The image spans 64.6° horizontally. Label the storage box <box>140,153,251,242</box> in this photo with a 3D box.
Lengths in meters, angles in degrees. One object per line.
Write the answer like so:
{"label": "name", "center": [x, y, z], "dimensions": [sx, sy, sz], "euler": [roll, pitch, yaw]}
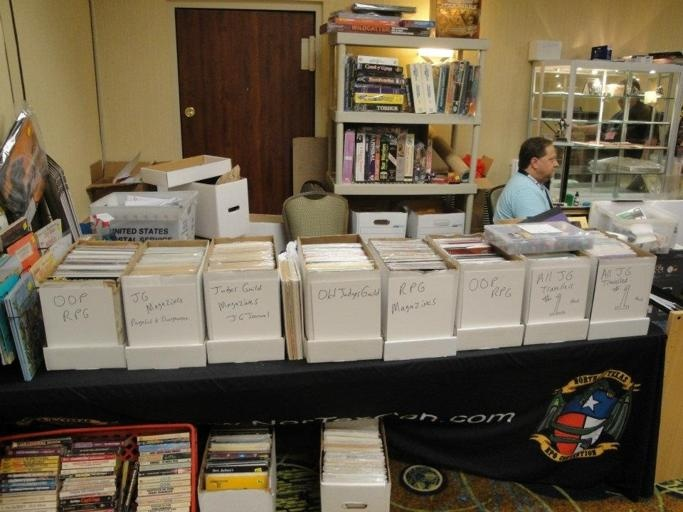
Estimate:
{"label": "storage box", "center": [-0.880, -0.434, 3.502], "dimensions": [0.748, 0.481, 0.569], "euler": [11, 27, 20]}

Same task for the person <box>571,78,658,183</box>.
{"label": "person", "center": [2.363, -1.133, 4.747], "dimensions": [0.982, 0.803, 0.490], "euler": [-1, 14, -1]}

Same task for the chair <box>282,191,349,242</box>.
{"label": "chair", "center": [-0.193, -0.341, 4.099], "dimensions": [0.459, 0.554, 0.428], "euler": [-5, 23, -8]}

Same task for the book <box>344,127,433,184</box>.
{"label": "book", "center": [0.338, -0.782, 4.232], "dimensions": [0.924, 0.412, 0.554], "euler": [-2, 27, -8]}

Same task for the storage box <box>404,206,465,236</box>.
{"label": "storage box", "center": [0.706, -0.252, 4.274], "dimensions": [0.374, 0.194, 0.341], "euler": [-2, 15, -4]}

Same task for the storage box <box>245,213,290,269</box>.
{"label": "storage box", "center": [-0.563, -0.136, 4.070], "dimensions": [0.431, 0.350, 0.238], "euler": [0, 1, -2]}

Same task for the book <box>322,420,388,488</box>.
{"label": "book", "center": [0.060, 0.901, 2.454], "dimensions": [0.302, 0.090, 0.292], "euler": [-2, 39, 1]}

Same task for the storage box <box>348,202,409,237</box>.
{"label": "storage box", "center": [0.273, -0.244, 4.216], "dimensions": [0.377, 0.199, 0.344], "euler": [-1, 15, -3]}

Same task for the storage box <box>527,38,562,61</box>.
{"label": "storage box", "center": [1.848, -1.839, 4.811], "dimensions": [0.318, 0.188, 0.269], "euler": [-2, 18, 1]}
